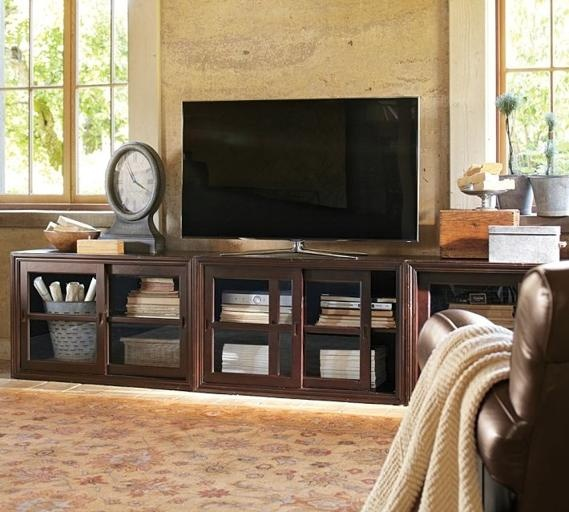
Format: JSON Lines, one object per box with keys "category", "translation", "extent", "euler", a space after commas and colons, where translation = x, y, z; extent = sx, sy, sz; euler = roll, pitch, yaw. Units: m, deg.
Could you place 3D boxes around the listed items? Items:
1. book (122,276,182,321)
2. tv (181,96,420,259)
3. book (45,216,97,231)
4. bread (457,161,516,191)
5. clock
{"category": "book", "translation": [-0.705, 0.239, 3.382], "extent": [0.345, 0.186, 0.225], "euler": [1, 1, 14]}
{"category": "tv", "translation": [0.075, -0.476, 3.474], "extent": [1.520, 0.714, 0.030], "euler": [-5, 12, -30]}
{"category": "book", "translation": [-1.287, -0.198, 3.799], "extent": [0.264, 0.086, 0.372], "euler": [0, 2, -19]}
{"category": "bread", "translation": [0.989, -0.375, 3.138], "extent": [0.206, 0.108, 0.196], "euler": [1, -1, -34]}
{"category": "clock", "translation": [-0.881, -0.434, 3.688], "extent": [0.340, 0.452, 0.106], "euler": [1, 3, 15]}
